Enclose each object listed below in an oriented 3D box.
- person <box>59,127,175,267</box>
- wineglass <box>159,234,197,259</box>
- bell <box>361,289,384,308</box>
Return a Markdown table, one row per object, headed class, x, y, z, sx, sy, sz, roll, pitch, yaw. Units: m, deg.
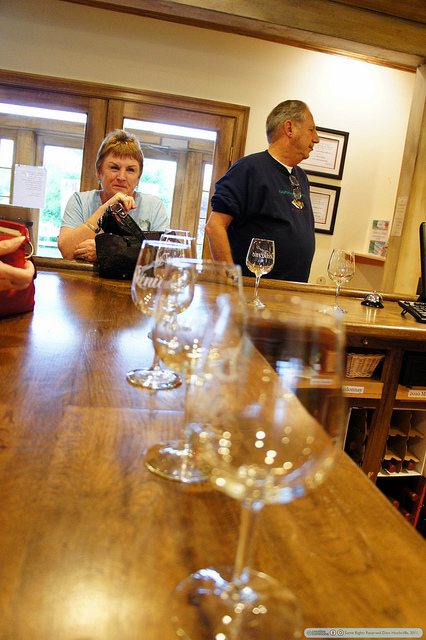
| class | x | y | z | sx | sy | sz | roll | pitch | yaw |
| --- | --- | --- | --- | --- | --- | --- | --- | --- | --- |
| person | -0.543 | -0.640 | 2.524 | 0.609 | 0.843 | 0.507 | -2 | 9 | -24 |
| wineglass | -0.079 | -0.169 | 1.008 | 0.088 | 0.082 | 0.087 | 1 | 9 | -5 |
| bell | 0.688 | -0.087 | 1.962 | 0.085 | 0.057 | 0.085 | -2 | 10 | -40 |
